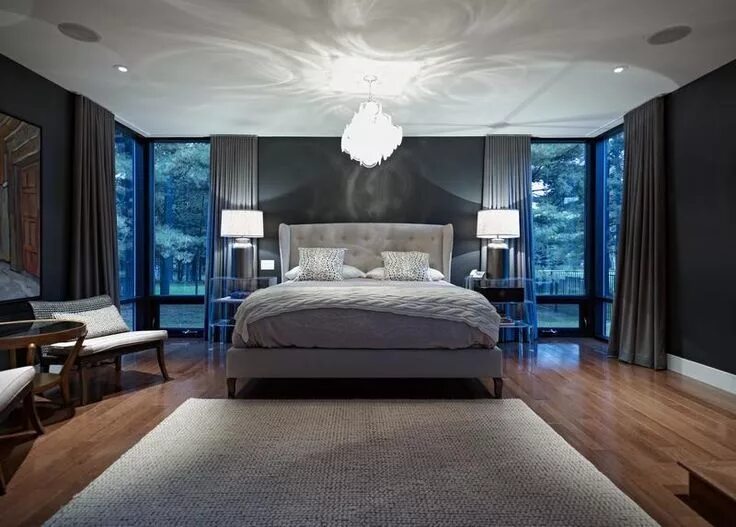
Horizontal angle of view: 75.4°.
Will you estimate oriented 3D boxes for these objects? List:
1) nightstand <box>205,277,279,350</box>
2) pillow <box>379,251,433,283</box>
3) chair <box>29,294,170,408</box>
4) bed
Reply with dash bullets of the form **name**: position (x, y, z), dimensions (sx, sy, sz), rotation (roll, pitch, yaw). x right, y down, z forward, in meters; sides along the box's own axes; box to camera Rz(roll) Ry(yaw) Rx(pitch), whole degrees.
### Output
- **nightstand**: position (-1.613, 0.604, 6.156), dimensions (0.886, 0.933, 0.866), rotation (1, -1, -8)
- **pillow**: position (0.439, -0.007, 5.481), dimensions (0.404, 0.371, 0.120), rotation (-3, -32, 9)
- **chair**: position (-2.355, 0.724, 4.366), dimensions (0.905, 0.938, 1.052), rotation (-4, -4, 18)
- **bed**: position (-0.041, 0.259, 5.396), dimensions (2.734, 1.560, 3.196), rotation (0, 3, 8)
